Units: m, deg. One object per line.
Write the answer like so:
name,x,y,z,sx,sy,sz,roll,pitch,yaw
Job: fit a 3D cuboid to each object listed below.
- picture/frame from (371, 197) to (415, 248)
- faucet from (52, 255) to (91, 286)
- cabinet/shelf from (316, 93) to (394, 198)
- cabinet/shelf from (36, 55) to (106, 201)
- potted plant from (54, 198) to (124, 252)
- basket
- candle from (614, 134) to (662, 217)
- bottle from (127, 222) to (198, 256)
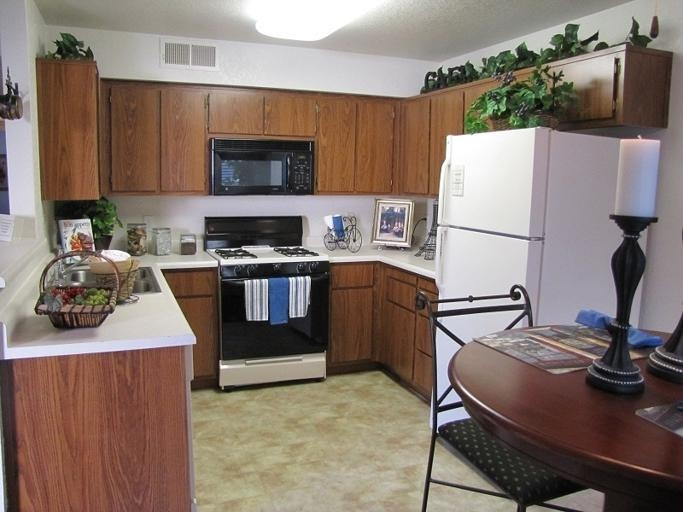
picture/frame,0.470,-0.296,4.632,0.433,0.520,0.051,5,0,17
faucet,-1.602,0.091,3.005,0.134,0.231,0.163,7,6,29
cabinet/shelf,0.095,-1.023,4.534,0.876,0.886,0.310,0,10,-10
cabinet/shelf,-1.798,-0.841,3.335,0.323,0.892,0.935,-2,8,-18
potted plant,-1.894,-0.299,3.837,0.546,0.505,0.367,-4,7,-42
basket,-1.227,0.121,2.383,0.327,0.338,0.443,0,5,-26
candle,0.883,-0.238,1.518,0.105,0.230,0.125,7,13,28
bottle,-1.500,-0.141,4.216,0.575,0.258,0.339,-3,12,-17
